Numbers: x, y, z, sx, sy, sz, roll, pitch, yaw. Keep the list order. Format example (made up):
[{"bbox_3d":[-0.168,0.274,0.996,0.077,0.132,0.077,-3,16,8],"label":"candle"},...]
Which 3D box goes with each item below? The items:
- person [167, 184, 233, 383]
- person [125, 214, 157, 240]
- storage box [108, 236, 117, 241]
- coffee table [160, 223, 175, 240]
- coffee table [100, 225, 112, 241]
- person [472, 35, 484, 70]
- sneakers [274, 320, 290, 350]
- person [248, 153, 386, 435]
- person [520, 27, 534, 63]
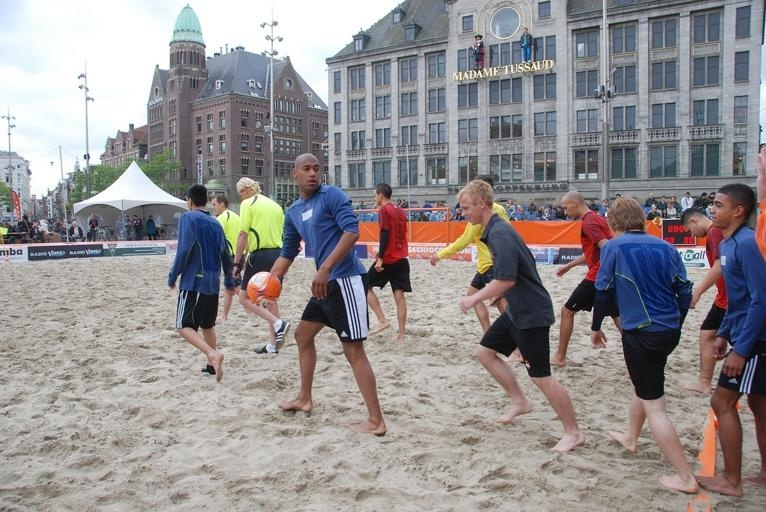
[{"bbox_3d":[-2.953,0.373,13.073,0.837,3.049,0.953,-1,4,7],"label":"person"},{"bbox_3d":[-10.756,-1.294,36.517,1.343,1.107,2.249,-2,3,-16],"label":"person"},{"bbox_3d":[-12.554,-0.843,37.748,0.229,0.299,0.224,-5,0,22],"label":"storage box"},{"bbox_3d":[-9.965,-1.139,37.763,0.956,0.554,1.337,-1,0,-17],"label":"coffee table"},{"bbox_3d":[-12.653,-1.114,37.440,0.404,0.652,1.129,-1,3,1],"label":"coffee table"},{"bbox_3d":[5.940,-12.622,50.223,0.696,2.145,0.960,-1,3,7],"label":"person"},{"bbox_3d":[-1.666,1.248,13.284,0.220,0.543,0.182,16,35,12],"label":"sneakers"},{"bbox_3d":[-0.775,0.543,11.820,1.529,4.077,0.783,1,4,33],"label":"person"},{"bbox_3d":[8.587,-12.569,48.438,0.661,2.087,0.582,-1,4,7],"label":"person"}]
